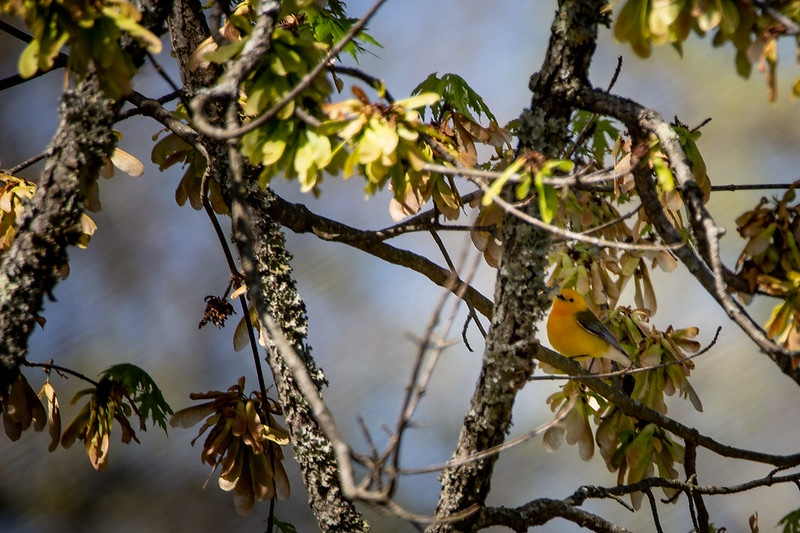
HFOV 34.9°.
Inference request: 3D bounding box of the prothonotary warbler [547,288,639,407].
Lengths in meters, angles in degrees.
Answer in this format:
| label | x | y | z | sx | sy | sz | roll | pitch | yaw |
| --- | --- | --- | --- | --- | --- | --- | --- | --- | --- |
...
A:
| label | x | y | z | sx | sy | sz | roll | pitch | yaw |
| --- | --- | --- | --- | --- | --- | --- | --- | --- | --- |
| prothonotary warbler | 1.161 | 0.393 | 7.593 | 0.686 | 0.437 | 0.354 | 14 | -9 | -27 |
